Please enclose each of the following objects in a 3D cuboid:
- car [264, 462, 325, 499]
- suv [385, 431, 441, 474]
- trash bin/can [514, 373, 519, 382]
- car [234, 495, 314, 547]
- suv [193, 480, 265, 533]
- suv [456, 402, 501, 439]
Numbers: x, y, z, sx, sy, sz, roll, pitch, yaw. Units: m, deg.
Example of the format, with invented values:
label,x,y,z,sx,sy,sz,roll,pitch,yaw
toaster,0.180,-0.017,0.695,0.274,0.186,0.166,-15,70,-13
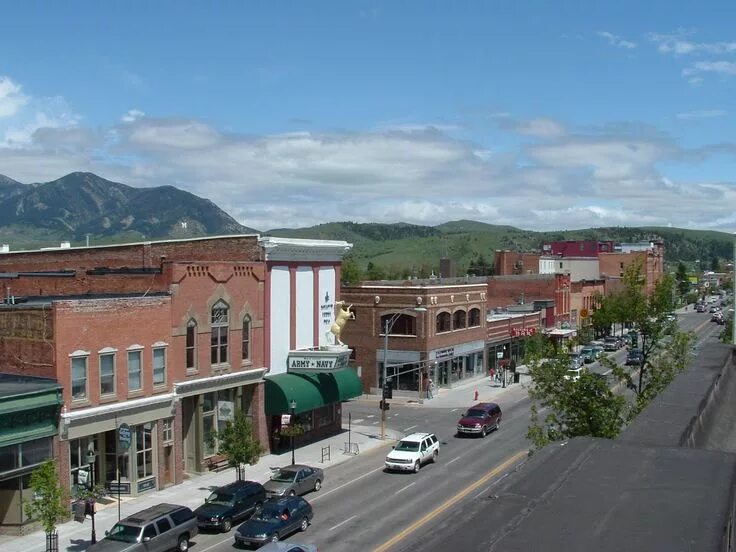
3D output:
label,x,y,z,sx,sy,sz,roll,pitch,yaw
car,-3.748,10.181,37.610,1.288,0.853,2.798,-3,-7,33
suv,2.563,10.081,43.096,1.602,1.015,2.844,-2,-5,24
trash bin/can,14.202,9.695,72.683,0.436,0.976,1.298,3,3,12
car,-4.161,10.599,32.491,1.834,1.735,3.332,4,3,30
suv,-6.337,10.495,34.680,1.419,1.100,2.860,-2,-3,23
suv,7.539,9.687,51.145,1.587,1.180,3.175,-2,-6,26
